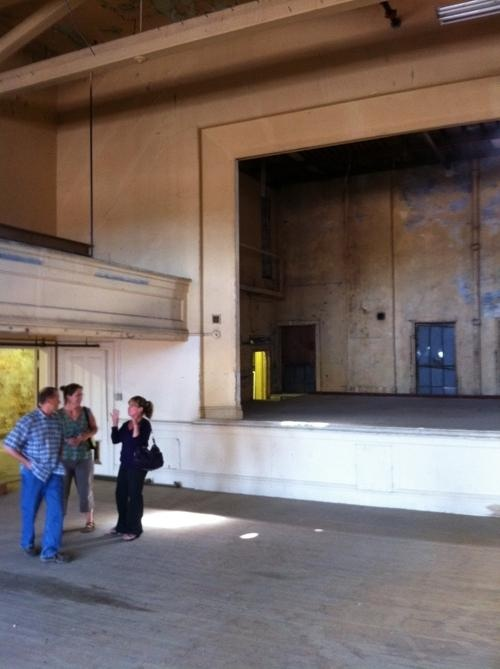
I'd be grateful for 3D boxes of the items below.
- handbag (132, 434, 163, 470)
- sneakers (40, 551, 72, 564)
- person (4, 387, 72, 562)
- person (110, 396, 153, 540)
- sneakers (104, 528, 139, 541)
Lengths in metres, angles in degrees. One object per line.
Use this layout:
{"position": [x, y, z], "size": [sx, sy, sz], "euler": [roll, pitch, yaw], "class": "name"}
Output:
{"position": [-0.892, 1.121, 5.675], "size": [0.229, 0.251, 0.321], "euler": [-1, -2, 22], "class": "handbag"}
{"position": [-1.636, 1.866, 5.205], "size": [0.240, 0.110, 0.117], "euler": [2, -5, -5], "class": "sneakers"}
{"position": [-1.824, 1.249, 5.236], "size": [0.470, 1.314, 0.455], "euler": [0, -2, -19], "class": "person"}
{"position": [-1.106, 1.249, 5.776], "size": [0.358, 1.351, 0.598], "euler": [0, -2, -12], "class": "person"}
{"position": [-1.245, 1.905, 5.882], "size": [0.346, 0.153, 0.122], "euler": [-3, 1, 11], "class": "sneakers"}
